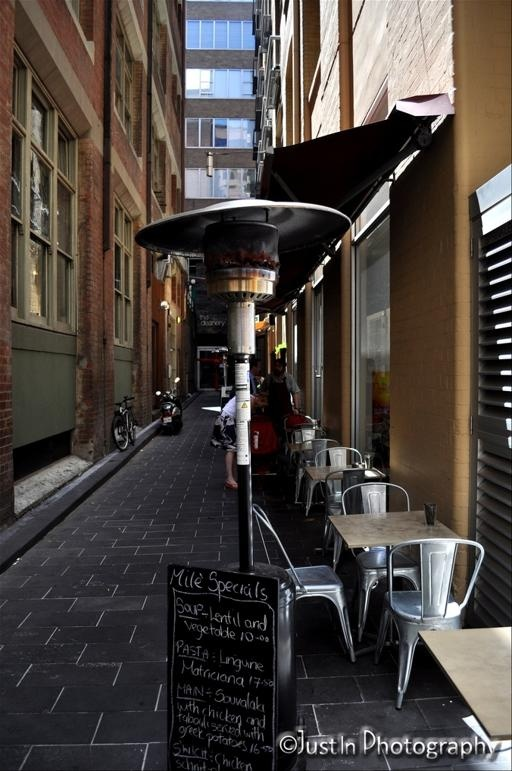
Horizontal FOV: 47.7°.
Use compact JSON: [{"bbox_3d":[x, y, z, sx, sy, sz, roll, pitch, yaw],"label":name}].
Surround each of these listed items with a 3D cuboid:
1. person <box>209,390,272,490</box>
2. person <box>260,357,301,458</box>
[{"bbox_3d":[-0.161,0.709,6.930,0.462,0.409,1.226,-13,-30,-13],"label":"person"},{"bbox_3d":[0.419,0.420,10.549,0.694,1.949,0.536,-2,24,1],"label":"person"}]
